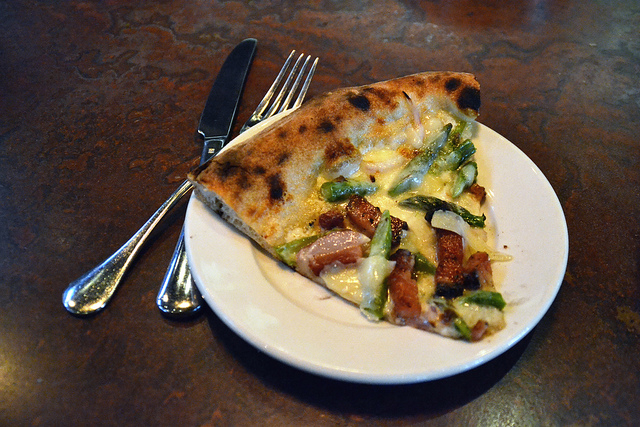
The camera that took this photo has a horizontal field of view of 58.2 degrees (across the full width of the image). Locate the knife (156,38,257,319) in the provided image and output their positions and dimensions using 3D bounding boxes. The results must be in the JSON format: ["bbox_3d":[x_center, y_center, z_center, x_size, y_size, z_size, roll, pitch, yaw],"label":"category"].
[{"bbox_3d":[-0.848,-0.405,4.459,0.327,0.123,2.365,12,53,6],"label":"knife"}]

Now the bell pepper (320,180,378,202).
[{"bbox_3d":[0.194,-0.192,4.112,0.330,0.092,0.148,-8,43,-9],"label":"bell pepper"}]

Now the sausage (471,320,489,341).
[{"bbox_3d":[1.002,0.739,3.613,0.070,0.030,0.134,29,74,22],"label":"sausage"}]
